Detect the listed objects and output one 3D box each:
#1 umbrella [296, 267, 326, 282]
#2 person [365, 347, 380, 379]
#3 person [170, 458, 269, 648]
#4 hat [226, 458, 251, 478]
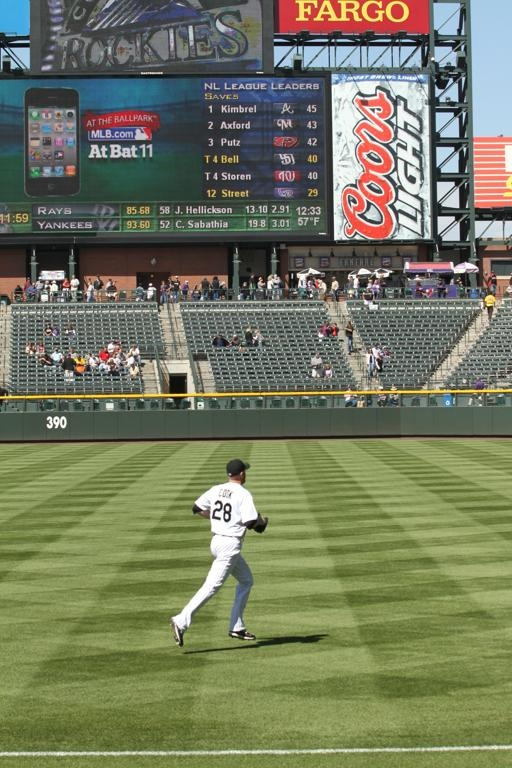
[{"bbox_3d":[2.193,-4.383,42.016,0.904,0.483,1.305,0,-1,5],"label":"umbrella"},{"bbox_3d":[3.829,-0.690,34.386,0.412,0.890,1.298,-2,3,8],"label":"person"},{"bbox_3d":[-0.255,1.190,7.438,0.651,1.356,0.855,-2,3,-2],"label":"person"},{"bbox_3d":[-0.125,0.580,7.243,0.106,0.097,0.162,11,32,34],"label":"hat"}]
